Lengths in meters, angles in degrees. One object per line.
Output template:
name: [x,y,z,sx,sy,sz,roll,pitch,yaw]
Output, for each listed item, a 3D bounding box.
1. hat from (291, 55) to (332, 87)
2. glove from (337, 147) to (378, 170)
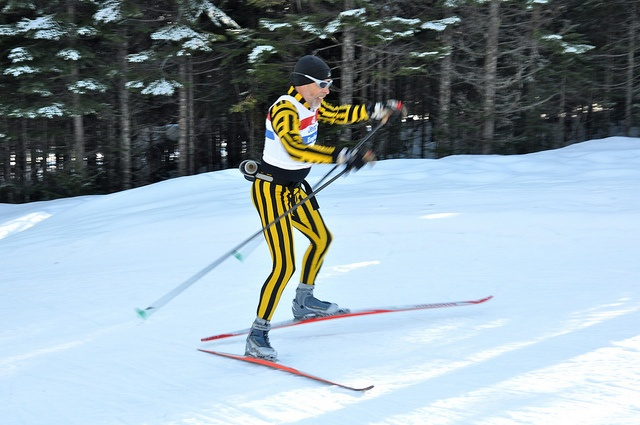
hat: [-0.138,-1.990,10.066,0.768,0.311,0.492,-9,10,15]
glove: [0.477,-0.748,9.931,0.625,0.294,0.333,-1,6,-9]
